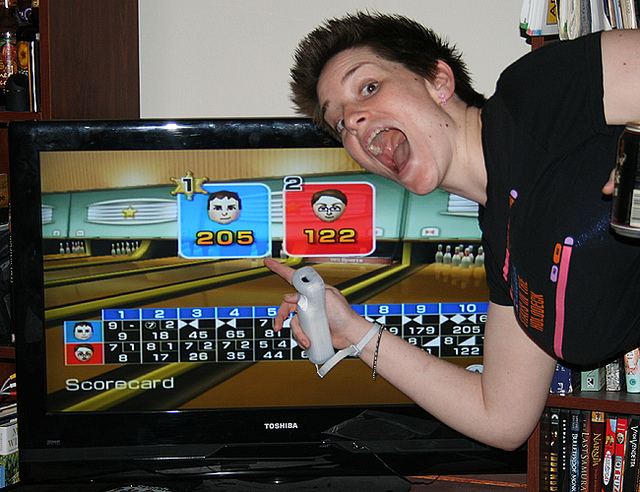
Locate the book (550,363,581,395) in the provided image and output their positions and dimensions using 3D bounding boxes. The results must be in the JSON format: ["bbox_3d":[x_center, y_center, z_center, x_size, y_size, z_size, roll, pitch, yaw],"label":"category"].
[{"bbox_3d":[0.715,0.372,1.804,0.063,0.099,0.065,22,-24,-32],"label":"book"}]

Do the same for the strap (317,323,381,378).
[{"bbox_3d":[0.077,0.269,1.662,0.244,0.043,0.042,-39,-1,-14],"label":"strap"}]

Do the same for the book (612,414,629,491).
[{"bbox_3d":[0.826,0.576,1.723,0.028,0.235,0.161,5,-10,22],"label":"book"}]

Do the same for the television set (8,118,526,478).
[{"bbox_3d":[-0.175,0.105,1.707,1.080,0.676,0.105,-2,4,1],"label":"television set"}]

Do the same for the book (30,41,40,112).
[{"bbox_3d":[-0.860,-0.516,1.902,0.027,0.230,0.026,17,34,0],"label":"book"}]

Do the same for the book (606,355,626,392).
[{"bbox_3d":[0.863,0.363,1.823,0.035,0.081,0.100,-5,1,36],"label":"book"}]

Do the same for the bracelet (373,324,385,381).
[{"bbox_3d":[0.150,0.286,1.664,0.027,0.111,0.086,-1,2,3],"label":"bracelet"}]

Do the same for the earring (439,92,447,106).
[{"bbox_3d":[0.292,-0.351,1.493,0.015,0.028,0.003,0,2,10],"label":"earring"}]
